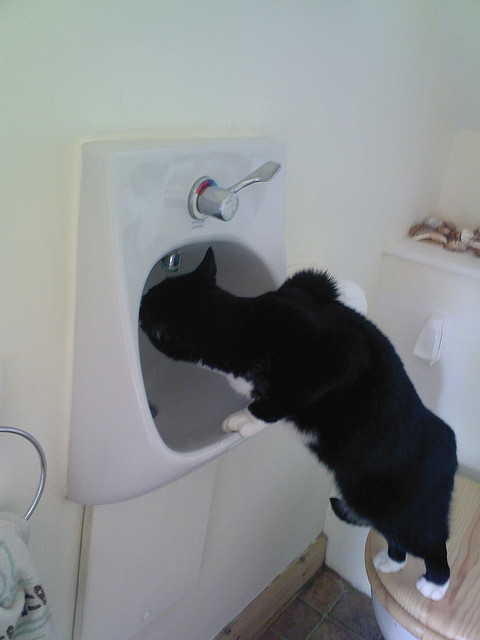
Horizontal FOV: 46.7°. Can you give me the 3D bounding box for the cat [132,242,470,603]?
[{"bbox_3d":[0.055,0.140,0.671,0.499,0.254,0.128,35,2,-8],"label":"cat"}]
